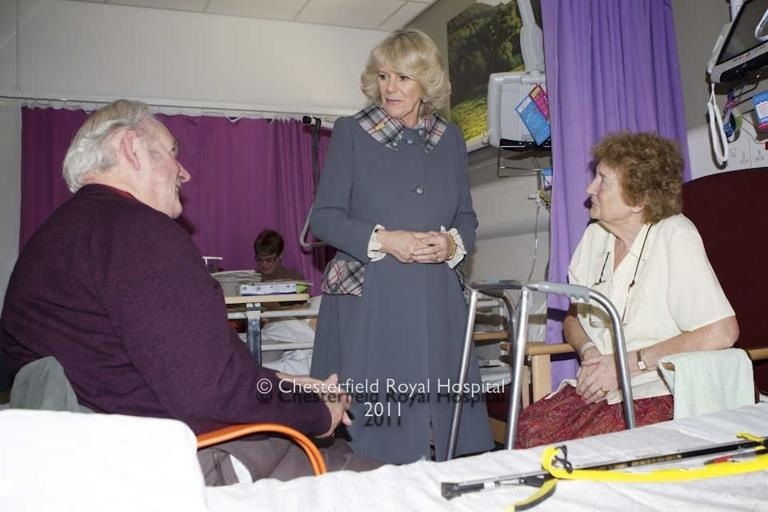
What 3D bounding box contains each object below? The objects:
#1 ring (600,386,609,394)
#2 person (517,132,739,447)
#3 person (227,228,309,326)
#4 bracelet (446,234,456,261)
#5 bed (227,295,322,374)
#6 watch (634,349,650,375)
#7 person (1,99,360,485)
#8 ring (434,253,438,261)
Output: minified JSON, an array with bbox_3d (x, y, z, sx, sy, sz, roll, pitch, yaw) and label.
[{"bbox_3d":[0.812,0.489,2.298,0.023,0.024,0.018,-7,-8,11],"label":"ring"},{"bbox_3d":[0.896,0.193,2.484,0.748,1.284,0.767,1,-4,-5],"label":"person"},{"bbox_3d":[-0.876,0.265,4.969,0.516,0.933,0.495,-7,8,-28],"label":"person"},{"bbox_3d":[0.255,-0.035,2.312,0.030,0.083,0.060,0,25,10],"label":"bracelet"},{"bbox_3d":[-0.555,0.465,3.684,0.676,0.502,0.382,-2,4,-30],"label":"bed"},{"bbox_3d":[0.930,0.379,2.266,0.037,0.070,0.071,-23,-28,5],"label":"watch"},{"bbox_3d":[-0.617,0.185,2.206,1.195,1.299,0.754,8,-11,-44],"label":"person"},{"bbox_3d":[0.192,0.004,2.257,0.005,0.020,0.019,-1,-21,17],"label":"ring"}]
